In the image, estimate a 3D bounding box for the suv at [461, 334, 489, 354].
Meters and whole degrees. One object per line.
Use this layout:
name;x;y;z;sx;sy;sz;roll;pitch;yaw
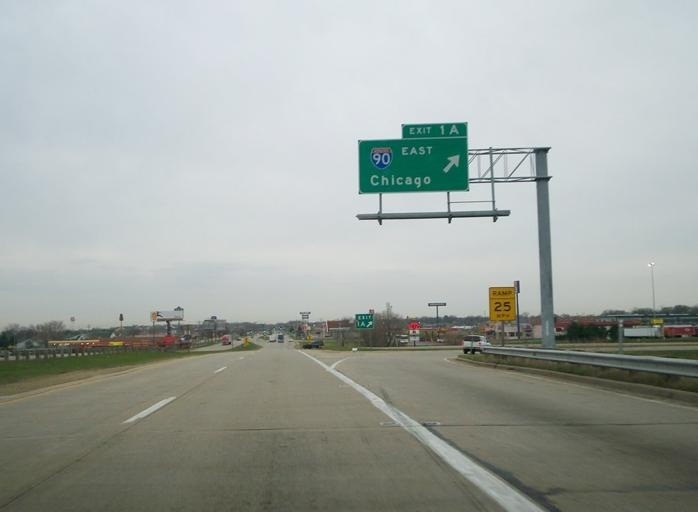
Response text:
suv;8.426;5.987;45.397;1.537;1.458;3.306;-1;0;26

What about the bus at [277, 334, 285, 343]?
bus;-14.223;16.985;139.382;1.177;2.012;9.948;0;-4;-3

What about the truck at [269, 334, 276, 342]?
truck;-15.680;17.055;138.488;1.147;1.661;5.383;0;-4;-12
